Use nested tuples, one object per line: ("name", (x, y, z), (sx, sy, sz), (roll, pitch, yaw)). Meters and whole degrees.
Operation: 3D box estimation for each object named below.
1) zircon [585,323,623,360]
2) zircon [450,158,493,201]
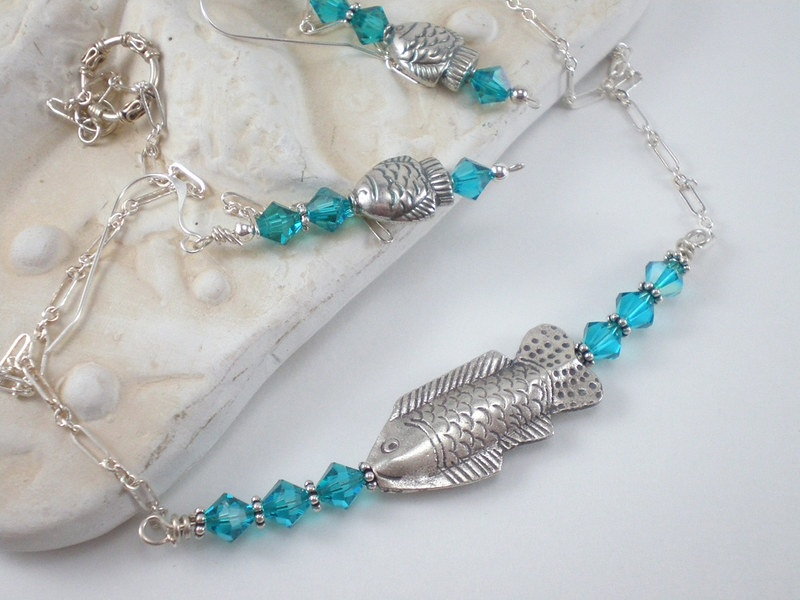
("zircon", (0.489, 0.098, 2.201), (0.089, 0.097, 0.070), (-22, -16, 14))
("zircon", (0.165, -0.294, 2.207), (0.089, 0.096, 0.056), (-42, 14, -1))
